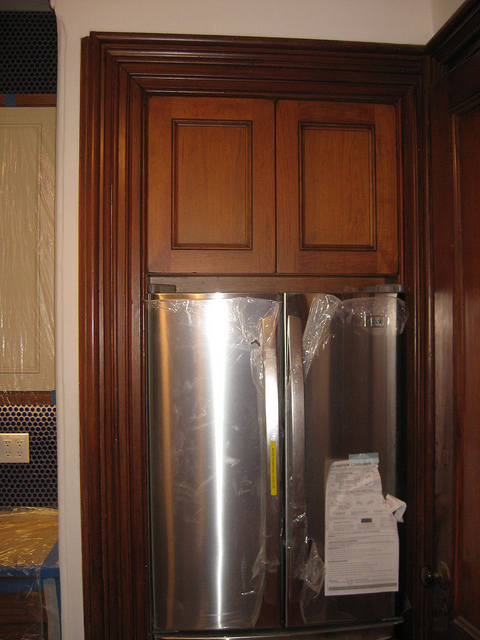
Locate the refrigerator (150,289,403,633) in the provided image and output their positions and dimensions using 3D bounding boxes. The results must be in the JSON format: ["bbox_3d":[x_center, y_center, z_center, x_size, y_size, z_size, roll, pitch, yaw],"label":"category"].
[{"bbox_3d":[0.074,0.375,1.619,0.548,1.303,0.412,0,1,0],"label":"refrigerator"}]
